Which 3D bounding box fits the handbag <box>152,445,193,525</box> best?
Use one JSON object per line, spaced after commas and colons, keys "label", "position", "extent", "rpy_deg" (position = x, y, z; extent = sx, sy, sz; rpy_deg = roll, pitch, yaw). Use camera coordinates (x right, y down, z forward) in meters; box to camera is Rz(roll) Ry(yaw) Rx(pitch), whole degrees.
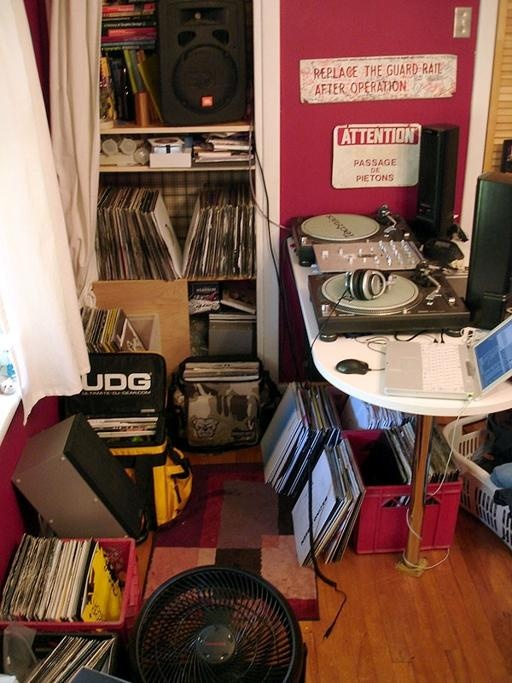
{"label": "handbag", "position": [-0.295, 0.516, 1.837], "extent": [0.129, 0.227, 0.209], "rpy_deg": [1, 30, 1]}

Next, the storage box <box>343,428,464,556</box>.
{"label": "storage box", "position": [0.477, 0.529, 1.714], "extent": [0.380, 0.238, 0.389], "rpy_deg": [0, 27, 3]}

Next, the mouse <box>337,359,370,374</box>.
{"label": "mouse", "position": [0.239, 0.062, 1.233], "extent": [0.048, 0.012, 0.041], "rpy_deg": [0, 35, 6]}

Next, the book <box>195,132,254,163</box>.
{"label": "book", "position": [-0.131, -0.786, 2.120], "extent": [0.259, 0.116, 0.138], "rpy_deg": [5, 29, 15]}

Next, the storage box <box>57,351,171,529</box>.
{"label": "storage box", "position": [-0.495, 0.331, 1.810], "extent": [0.378, 0.540, 0.300], "rpy_deg": [1, 8, -11]}

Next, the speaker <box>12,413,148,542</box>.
{"label": "speaker", "position": [-0.517, 0.413, 1.527], "extent": [0.213, 0.424, 0.259], "rpy_deg": [-20, 35, 7]}
